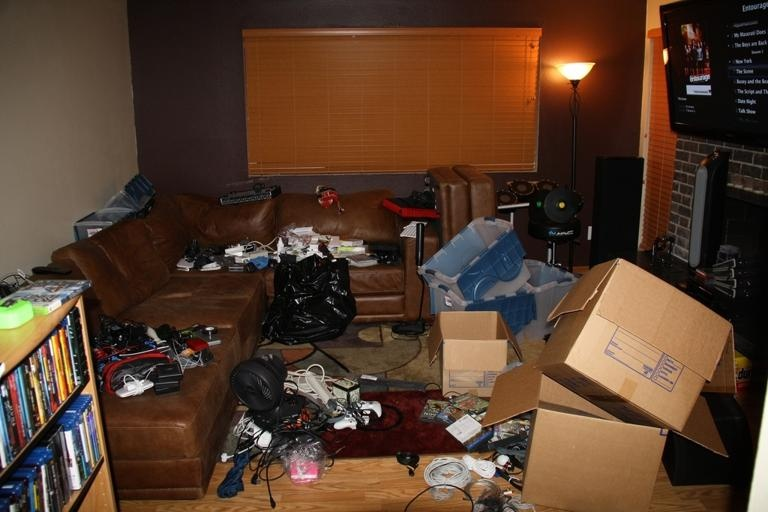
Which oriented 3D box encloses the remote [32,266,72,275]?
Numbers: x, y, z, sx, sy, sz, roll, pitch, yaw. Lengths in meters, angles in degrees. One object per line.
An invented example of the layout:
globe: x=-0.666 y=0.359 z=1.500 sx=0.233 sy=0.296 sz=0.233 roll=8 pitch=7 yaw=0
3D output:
remote: x=-2.223 y=0.100 z=3.807 sx=0.191 sy=0.037 sz=0.103 roll=0 pitch=3 yaw=-3

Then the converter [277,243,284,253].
converter: x=-0.928 y=-0.068 z=5.128 sx=0.055 sy=0.086 sz=0.029 roll=1 pitch=-24 yaw=-4

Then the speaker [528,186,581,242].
speaker: x=1.442 y=-0.379 z=5.078 sx=0.485 sy=0.504 sz=0.477 roll=-1 pitch=9 yaw=-1

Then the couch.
couch: x=-1.460 y=0.455 z=4.087 sx=2.375 sy=0.766 sz=2.132 roll=-2 pitch=20 yaw=-12

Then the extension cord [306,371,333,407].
extension cord: x=-0.439 y=0.886 z=3.858 sx=0.097 sy=0.077 sz=0.288 roll=-9 pitch=53 yaw=-50
